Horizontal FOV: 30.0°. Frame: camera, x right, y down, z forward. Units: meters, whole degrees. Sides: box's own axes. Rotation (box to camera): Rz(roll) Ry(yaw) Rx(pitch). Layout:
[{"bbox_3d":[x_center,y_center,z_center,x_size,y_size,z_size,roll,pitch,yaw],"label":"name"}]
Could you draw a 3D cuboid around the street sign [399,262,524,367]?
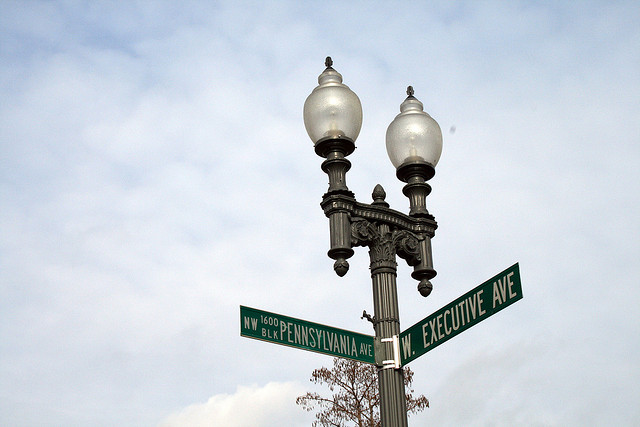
[{"bbox_3d":[1.796,1.431,16.077,0.031,0.569,2.290,30,-49,-32],"label":"street sign"}]
